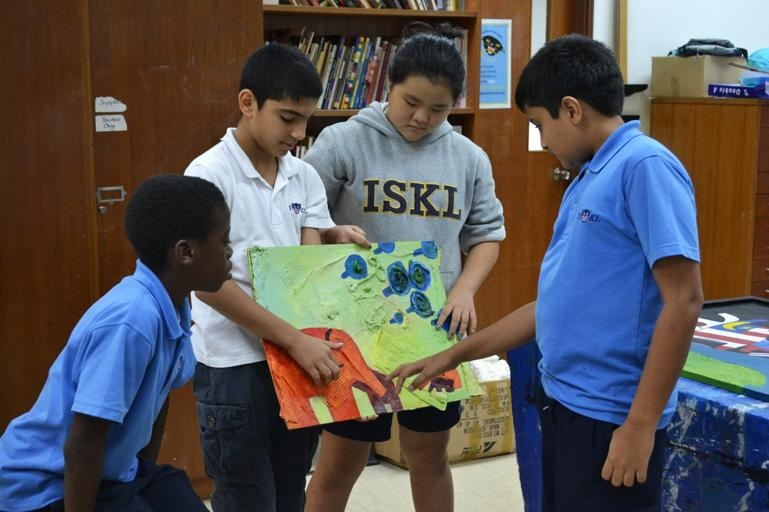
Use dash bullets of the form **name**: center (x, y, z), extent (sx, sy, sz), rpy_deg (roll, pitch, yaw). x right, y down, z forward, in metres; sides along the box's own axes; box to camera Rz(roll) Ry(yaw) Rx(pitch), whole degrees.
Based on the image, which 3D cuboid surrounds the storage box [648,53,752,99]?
- **storage box**: center (2.130, -1.225, 4.970), extent (0.377, 0.250, 0.387), rpy_deg (6, 8, 41)
